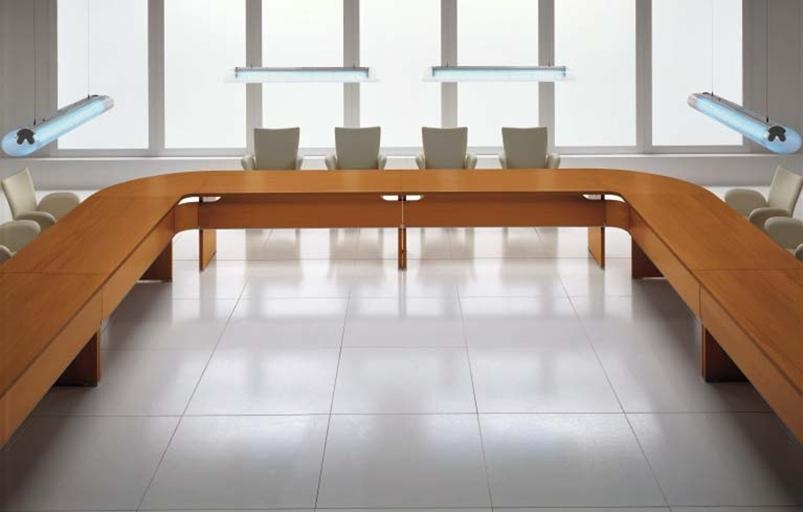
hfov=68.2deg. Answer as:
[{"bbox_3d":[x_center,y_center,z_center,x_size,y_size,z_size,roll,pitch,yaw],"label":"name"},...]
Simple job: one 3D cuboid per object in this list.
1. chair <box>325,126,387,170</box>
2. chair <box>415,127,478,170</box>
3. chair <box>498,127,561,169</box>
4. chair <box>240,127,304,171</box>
[{"bbox_3d":[-0.621,-1.481,7.684,0.669,0.878,0.721,1,6,0],"label":"chair"},{"bbox_3d":[0.611,-1.463,8.047,0.624,0.812,0.671,1,11,5],"label":"chair"},{"bbox_3d":[1.676,-1.480,8.104,0.676,0.871,0.750,-1,5,-1],"label":"chair"},{"bbox_3d":[-1.716,-1.442,8.111,0.662,0.861,0.675,2,5,-4],"label":"chair"}]
